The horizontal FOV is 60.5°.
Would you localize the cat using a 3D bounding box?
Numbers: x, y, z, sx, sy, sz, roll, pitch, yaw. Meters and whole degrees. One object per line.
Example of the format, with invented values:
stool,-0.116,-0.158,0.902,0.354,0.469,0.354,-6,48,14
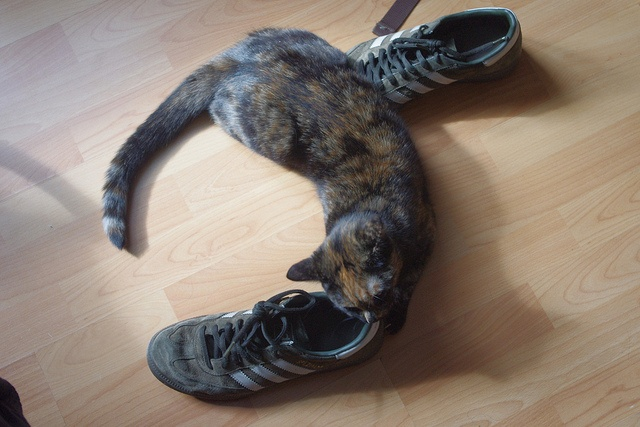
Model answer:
cat,-0.039,-0.286,3.466,2.078,0.872,1.676,-26,97,3
